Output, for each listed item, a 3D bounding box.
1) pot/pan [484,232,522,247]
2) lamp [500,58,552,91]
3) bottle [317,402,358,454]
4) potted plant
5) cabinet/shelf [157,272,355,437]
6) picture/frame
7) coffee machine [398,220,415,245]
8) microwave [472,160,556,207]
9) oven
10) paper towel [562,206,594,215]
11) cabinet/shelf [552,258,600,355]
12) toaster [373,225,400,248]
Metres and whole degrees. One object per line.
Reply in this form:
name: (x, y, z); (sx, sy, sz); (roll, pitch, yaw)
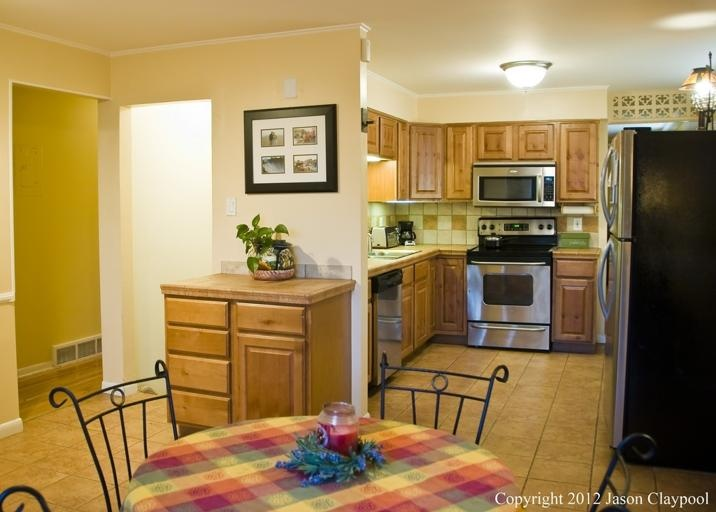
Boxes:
pot/pan: (1.587, -0.191, 6.211); (0.302, 0.117, 0.169); (2, 5, 29)
lamp: (1.518, -1.651, 4.933); (0.465, 0.210, 0.376); (0, 8, 17)
bottle: (-0.064, 0.586, 1.925); (0.153, 0.165, 0.154); (1, 6, 4)
potted plant: (-0.724, -0.021, 4.016); (0.428, 0.423, 0.503); (2, -4, -2)
cabinet/shelf: (-0.707, 0.786, 3.919); (1.264, 1.181, 0.795); (4, 5, 26)
picture/frame: (-0.463, -0.799, 3.979); (0.678, 0.570, 0.028); (1, 2, 17)
coffee machine: (0.572, -0.279, 6.509); (0.175, 0.299, 0.300); (0, 9, 2)
microwave: (1.715, -0.744, 6.241); (0.928, 0.557, 0.550); (1, -5, -1)
oven: (1.663, 0.498, 6.029); (0.880, 0.969, 0.709); (1, 3, 19)
paper towel: (2.427, -0.509, 6.010); (0.326, 0.088, 0.085); (0, 8, 17)
cabinet/shelf: (2.235, 0.462, 5.836); (0.516, 1.003, 0.458); (-1, 5, 3)
toaster: (0.317, -0.210, 6.058); (0.148, 0.240, 0.433); (3, 9, 34)
